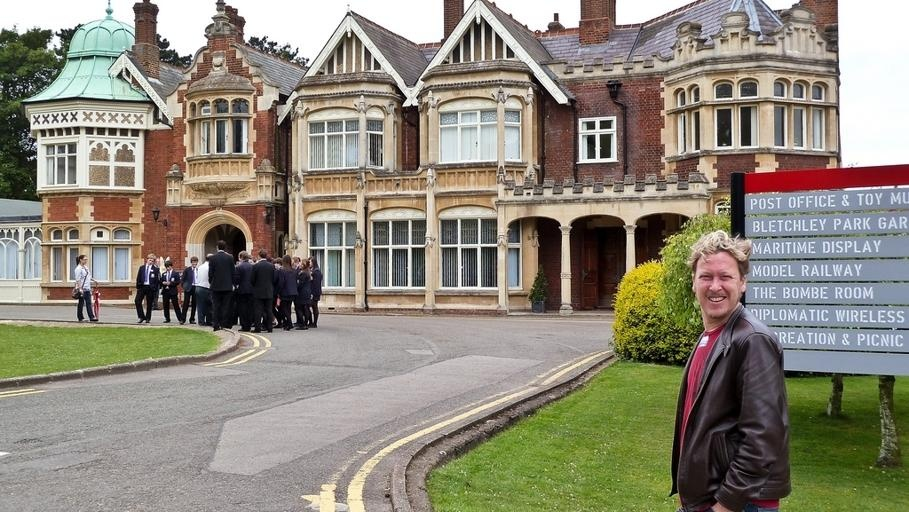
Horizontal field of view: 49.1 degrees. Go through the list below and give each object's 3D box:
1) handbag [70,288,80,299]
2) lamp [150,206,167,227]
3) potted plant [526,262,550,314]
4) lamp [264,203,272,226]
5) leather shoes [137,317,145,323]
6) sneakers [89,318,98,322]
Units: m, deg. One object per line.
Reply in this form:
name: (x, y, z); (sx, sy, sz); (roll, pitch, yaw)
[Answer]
handbag: (-14.342, 1.394, 37.814); (0.221, 0.369, 0.666); (0, -2, -30)
lamp: (-14.476, -1.868, 48.787); (0.702, 0.993, 1.208); (0, -2, -30)
potted plant: (3.599, 1.435, 42.845); (0.794, 1.965, 1.340); (-1, -2, 14)
lamp: (-8.804, -1.964, 47.074); (0.334, 0.829, 0.170); (-1, -2, -11)
leather shoes: (-11.778, 2.430, 37.420); (0.214, 0.240, 0.593); (1, -9, -9)
sneakers: (-13.561, 2.417, 37.547); (0.338, 0.130, 0.117); (-6, -6, 33)
